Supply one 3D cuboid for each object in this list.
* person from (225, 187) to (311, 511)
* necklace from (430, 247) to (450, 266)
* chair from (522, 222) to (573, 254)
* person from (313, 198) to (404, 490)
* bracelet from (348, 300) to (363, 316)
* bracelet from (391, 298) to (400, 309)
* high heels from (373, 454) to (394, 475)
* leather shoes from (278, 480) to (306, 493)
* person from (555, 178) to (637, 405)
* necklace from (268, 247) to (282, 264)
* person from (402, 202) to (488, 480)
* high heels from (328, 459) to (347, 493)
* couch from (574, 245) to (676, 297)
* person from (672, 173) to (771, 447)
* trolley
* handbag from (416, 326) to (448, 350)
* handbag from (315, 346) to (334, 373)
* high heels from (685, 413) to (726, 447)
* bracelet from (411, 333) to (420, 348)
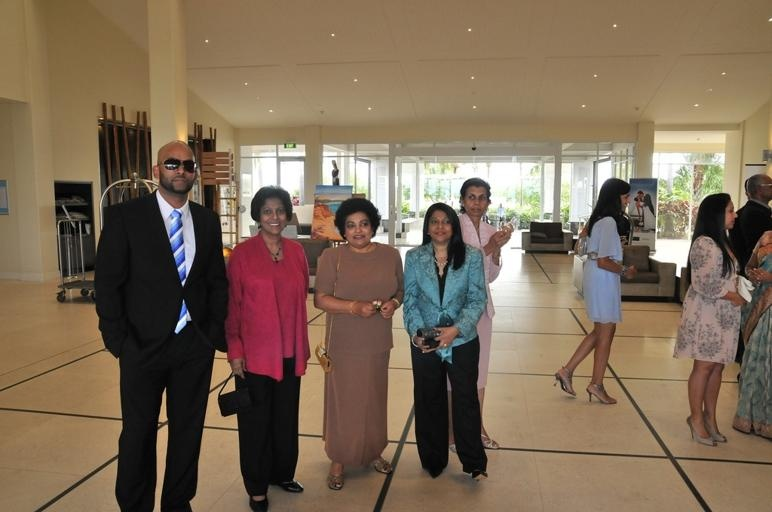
[{"bbox_3d":[-0.869,0.684,3.920,0.650,2.398,0.476,-5,11,-28],"label":"person"},{"bbox_3d":[0.437,-0.004,4.064,0.113,0.158,0.058,-1,-3,0],"label":"necklace"},{"bbox_3d":[5.521,-0.649,17.865,1.594,1.088,1.129,1,3,10],"label":"chair"},{"bbox_3d":[-0.204,0.675,4.135,0.714,2.251,0.542,-2,10,-8],"label":"person"},{"bbox_3d":[-0.232,0.402,3.977,0.078,0.093,0.042,0,10,3],"label":"bracelet"},{"bbox_3d":[0.072,0.376,4.079,0.064,0.032,0.084,18,2,5],"label":"bracelet"},{"bbox_3d":[-0.020,1.726,4.227,0.111,0.076,0.171,0,10,-22],"label":"high heels"},{"bbox_3d":[-0.736,1.818,4.033,0.195,0.078,0.091,1,2,12],"label":"leather shoes"},{"bbox_3d":[2.239,0.351,5.400,0.644,2.299,0.564,5,11,26],"label":"person"},{"bbox_3d":[-0.816,-0.006,3.892,0.095,0.094,0.023,-3,-10,-35],"label":"necklace"},{"bbox_3d":[0.469,0.692,4.117,0.645,2.181,0.456,0,10,1],"label":"person"},{"bbox_3d":[-0.384,1.756,4.080,0.152,0.090,0.384,1,13,-5],"label":"high heels"},{"bbox_3d":[4.854,0.286,10.268,1.216,0.907,1.138,1,8,14],"label":"couch"},{"bbox_3d":[2.961,0.550,4.666,0.527,2.207,0.618,7,12,35],"label":"person"},{"bbox_3d":[-7.112,0.065,12.383,1.112,1.859,1.103,3,6,2],"label":"trolley"},{"bbox_3d":[0.357,0.595,3.906,0.220,0.213,0.154,2,-2,-1],"label":"handbag"},{"bbox_3d":[-0.494,0.807,4.047,0.061,0.202,0.149,-8,12,-21],"label":"handbag"},{"bbox_3d":[2.867,1.610,4.646,0.174,0.117,0.295,0,-10,-21],"label":"high heels"},{"bbox_3d":[0.231,0.652,3.985,0.070,0.078,0.121,3,7,-4],"label":"bracelet"}]
